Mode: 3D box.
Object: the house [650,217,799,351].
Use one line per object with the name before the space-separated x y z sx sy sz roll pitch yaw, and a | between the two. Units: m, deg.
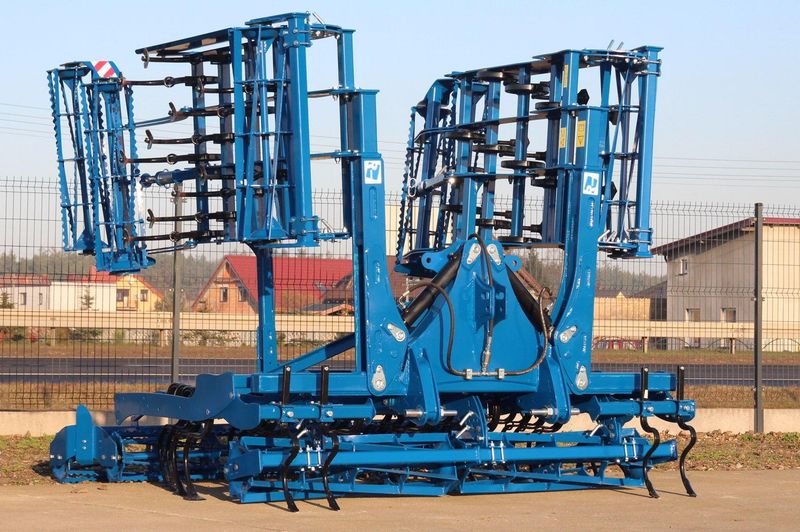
house | 4.705 0.292 26.170 1.435 1.387 1.996 1 -1 -23
